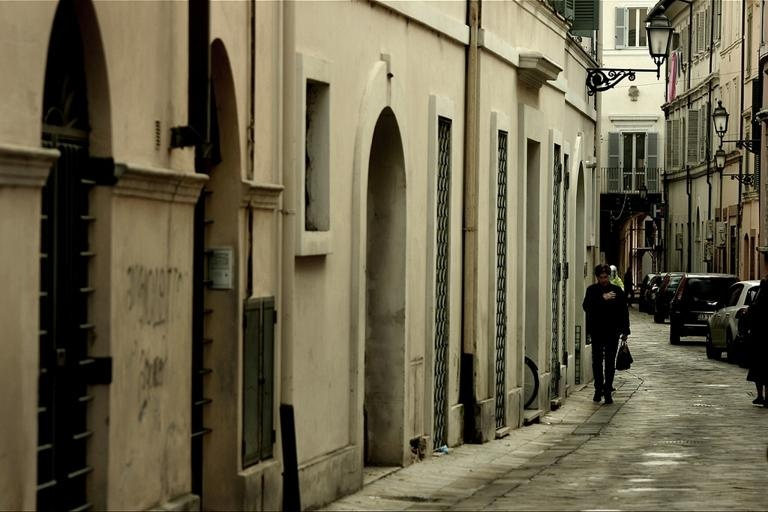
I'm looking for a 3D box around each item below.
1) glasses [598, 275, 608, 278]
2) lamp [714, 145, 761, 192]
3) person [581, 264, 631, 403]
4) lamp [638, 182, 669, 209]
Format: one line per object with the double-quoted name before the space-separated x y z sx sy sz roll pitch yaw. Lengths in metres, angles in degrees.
"glasses" 3.682 0.382 20.909 0.138 0.088 0.087 -2 -2 10
"lamp" 14.745 -3.610 51.732 2.199 2.224 0.685 2 9 8
"person" 3.783 1.365 21.232 0.740 2.361 0.815 -1 -2 9
"lamp" 14.896 -3.146 69.180 2.014 2.203 1.165 1 -1 16
